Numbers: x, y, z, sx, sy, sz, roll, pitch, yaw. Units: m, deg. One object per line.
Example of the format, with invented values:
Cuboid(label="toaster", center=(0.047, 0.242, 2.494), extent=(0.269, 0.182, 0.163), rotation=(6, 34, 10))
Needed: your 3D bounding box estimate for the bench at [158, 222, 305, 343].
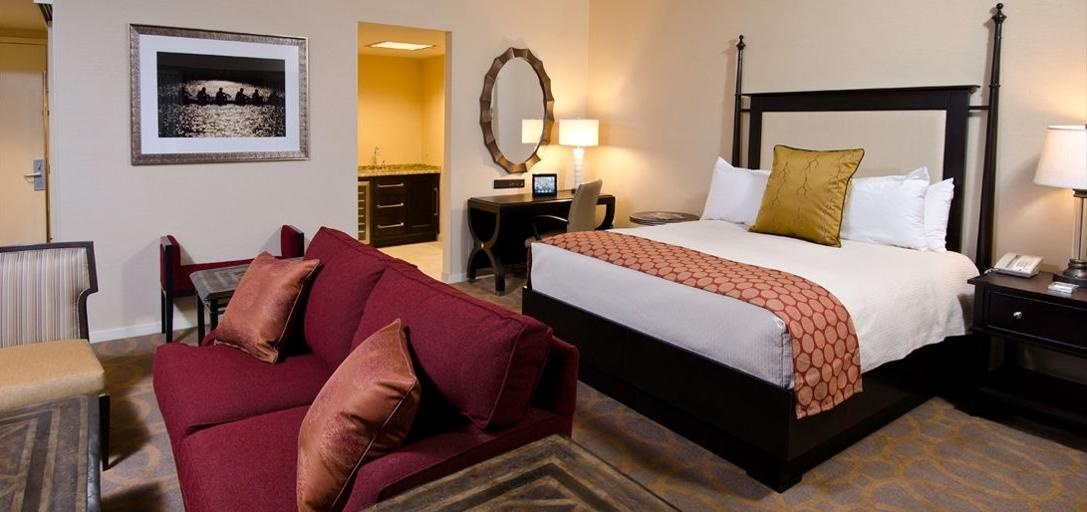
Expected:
Cuboid(label="bench", center=(-3.185, 0.292, 6.670), extent=(1.342, 0.956, 0.870), rotation=(-8, 13, -31))

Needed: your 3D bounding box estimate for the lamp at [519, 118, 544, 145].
Cuboid(label="lamp", center=(-0.168, -1.629, 8.263), extent=(0.400, 0.333, 0.200), rotation=(-3, 6, -37))

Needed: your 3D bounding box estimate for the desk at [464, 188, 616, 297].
Cuboid(label="desk", center=(-0.052, -0.316, 8.395), extent=(1.939, 1.015, 0.738), rotation=(-12, 23, -42))

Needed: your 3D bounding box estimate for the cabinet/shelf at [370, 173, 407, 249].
Cuboid(label="cabinet/shelf", center=(-2.400, -0.709, 9.474), extent=(0.564, 1.035, 0.598), rotation=(-11, 18, -43))

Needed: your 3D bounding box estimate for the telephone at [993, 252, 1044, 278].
Cuboid(label="telephone", center=(4.271, 0.085, 5.758), extent=(0.307, 0.083, 0.283), rotation=(-29, 29, -34))
